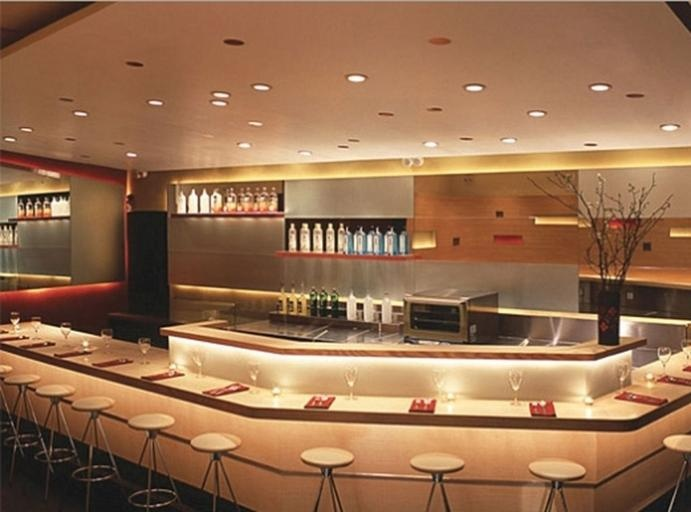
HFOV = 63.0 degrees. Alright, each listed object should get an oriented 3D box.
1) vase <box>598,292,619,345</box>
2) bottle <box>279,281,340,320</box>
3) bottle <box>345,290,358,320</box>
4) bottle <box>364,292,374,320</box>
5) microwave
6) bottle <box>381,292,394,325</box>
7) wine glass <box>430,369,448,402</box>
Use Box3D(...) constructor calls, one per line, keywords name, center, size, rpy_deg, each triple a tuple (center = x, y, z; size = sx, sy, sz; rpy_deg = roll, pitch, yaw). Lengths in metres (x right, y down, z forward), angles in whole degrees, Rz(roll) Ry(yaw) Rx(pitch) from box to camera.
Box3D(name="vase", center=(2.074, 0.486, 4.425), size=(0.147, 0.434, 0.082), rpy_deg=(2, -1, 18))
Box3D(name="bottle", center=(-0.441, 0.567, 7.053), size=(0.896, 0.309, 0.347), rpy_deg=(1, -1, 21))
Box3D(name="bottle", center=(0.081, 0.592, 6.559), size=(0.114, 0.263, 0.106), rpy_deg=(2, -1, 0))
Box3D(name="bottle", center=(0.276, 0.600, 6.502), size=(0.115, 0.242, 0.148), rpy_deg=(2, -1, 5))
Box3D(name="microwave", center=(1.111, 0.636, 5.869), size=(0.694, 0.398, 0.925), rpy_deg=(1, -2, 40))
Box3D(name="bottle", center=(0.476, 0.593, 6.392), size=(0.129, 0.264, 0.196), rpy_deg=(2, -1, 3))
Box3D(name="wine glass", center=(0.713, 0.974, 4.253), size=(0.113, 0.183, 0.234), rpy_deg=(2, -1, 8))
